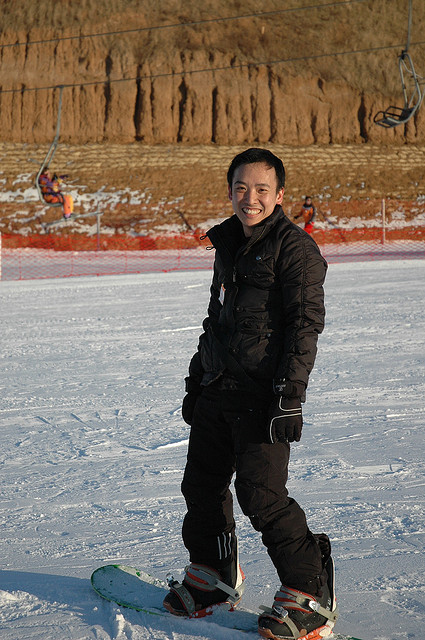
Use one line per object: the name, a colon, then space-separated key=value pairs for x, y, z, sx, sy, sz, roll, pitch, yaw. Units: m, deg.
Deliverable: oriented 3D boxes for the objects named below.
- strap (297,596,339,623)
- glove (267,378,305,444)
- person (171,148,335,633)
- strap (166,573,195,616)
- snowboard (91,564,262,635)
strap: x=0.405 y=1.105 z=3.386 sx=0.146 sy=0.031 sz=0.098 roll=23 pitch=-1 yaw=6
glove: x=0.276 y=0.347 z=3.313 sx=0.128 sy=0.257 sz=0.155 roll=2 pitch=2 yaw=3
person: x=0.171 y=0.247 z=3.470 sx=0.673 sy=1.844 sz=0.321 roll=3 pitch=2 yaw=30
strap: x=-0.126 y=1.094 z=3.532 sx=0.062 sy=0.177 sz=0.073 roll=-32 pitch=-28 yaw=-29
snowboard: x=-0.155 y=1.106 z=3.530 sx=0.831 sy=0.093 sz=0.223 roll=3 pitch=11 yaw=23
